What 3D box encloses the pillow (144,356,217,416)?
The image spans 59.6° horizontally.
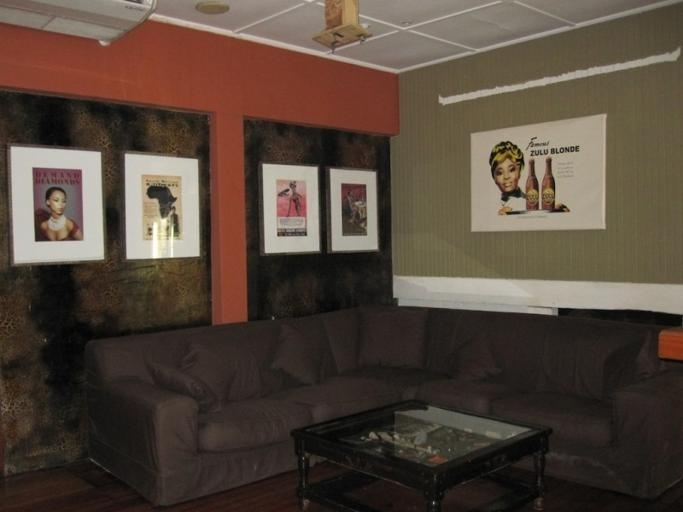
[{"bbox_3d":[-1.258,1.001,4.592,0.576,0.365,0.217,0,4,23],"label":"pillow"}]

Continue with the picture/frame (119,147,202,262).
[{"bbox_3d":[-1.582,-0.450,5.213,0.695,0.911,0.057,-5,5,-38],"label":"picture/frame"}]

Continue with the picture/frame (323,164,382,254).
[{"bbox_3d":[0.127,-0.503,6.447,0.146,0.903,0.736,2,5,41],"label":"picture/frame"}]

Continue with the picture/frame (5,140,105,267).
[{"bbox_3d":[-2.310,-0.419,4.700,0.938,1.307,0.086,-3,4,-36],"label":"picture/frame"}]

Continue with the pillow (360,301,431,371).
[{"bbox_3d":[0.490,0.781,5.811,0.543,0.584,0.208,5,-15,15],"label":"pillow"}]
